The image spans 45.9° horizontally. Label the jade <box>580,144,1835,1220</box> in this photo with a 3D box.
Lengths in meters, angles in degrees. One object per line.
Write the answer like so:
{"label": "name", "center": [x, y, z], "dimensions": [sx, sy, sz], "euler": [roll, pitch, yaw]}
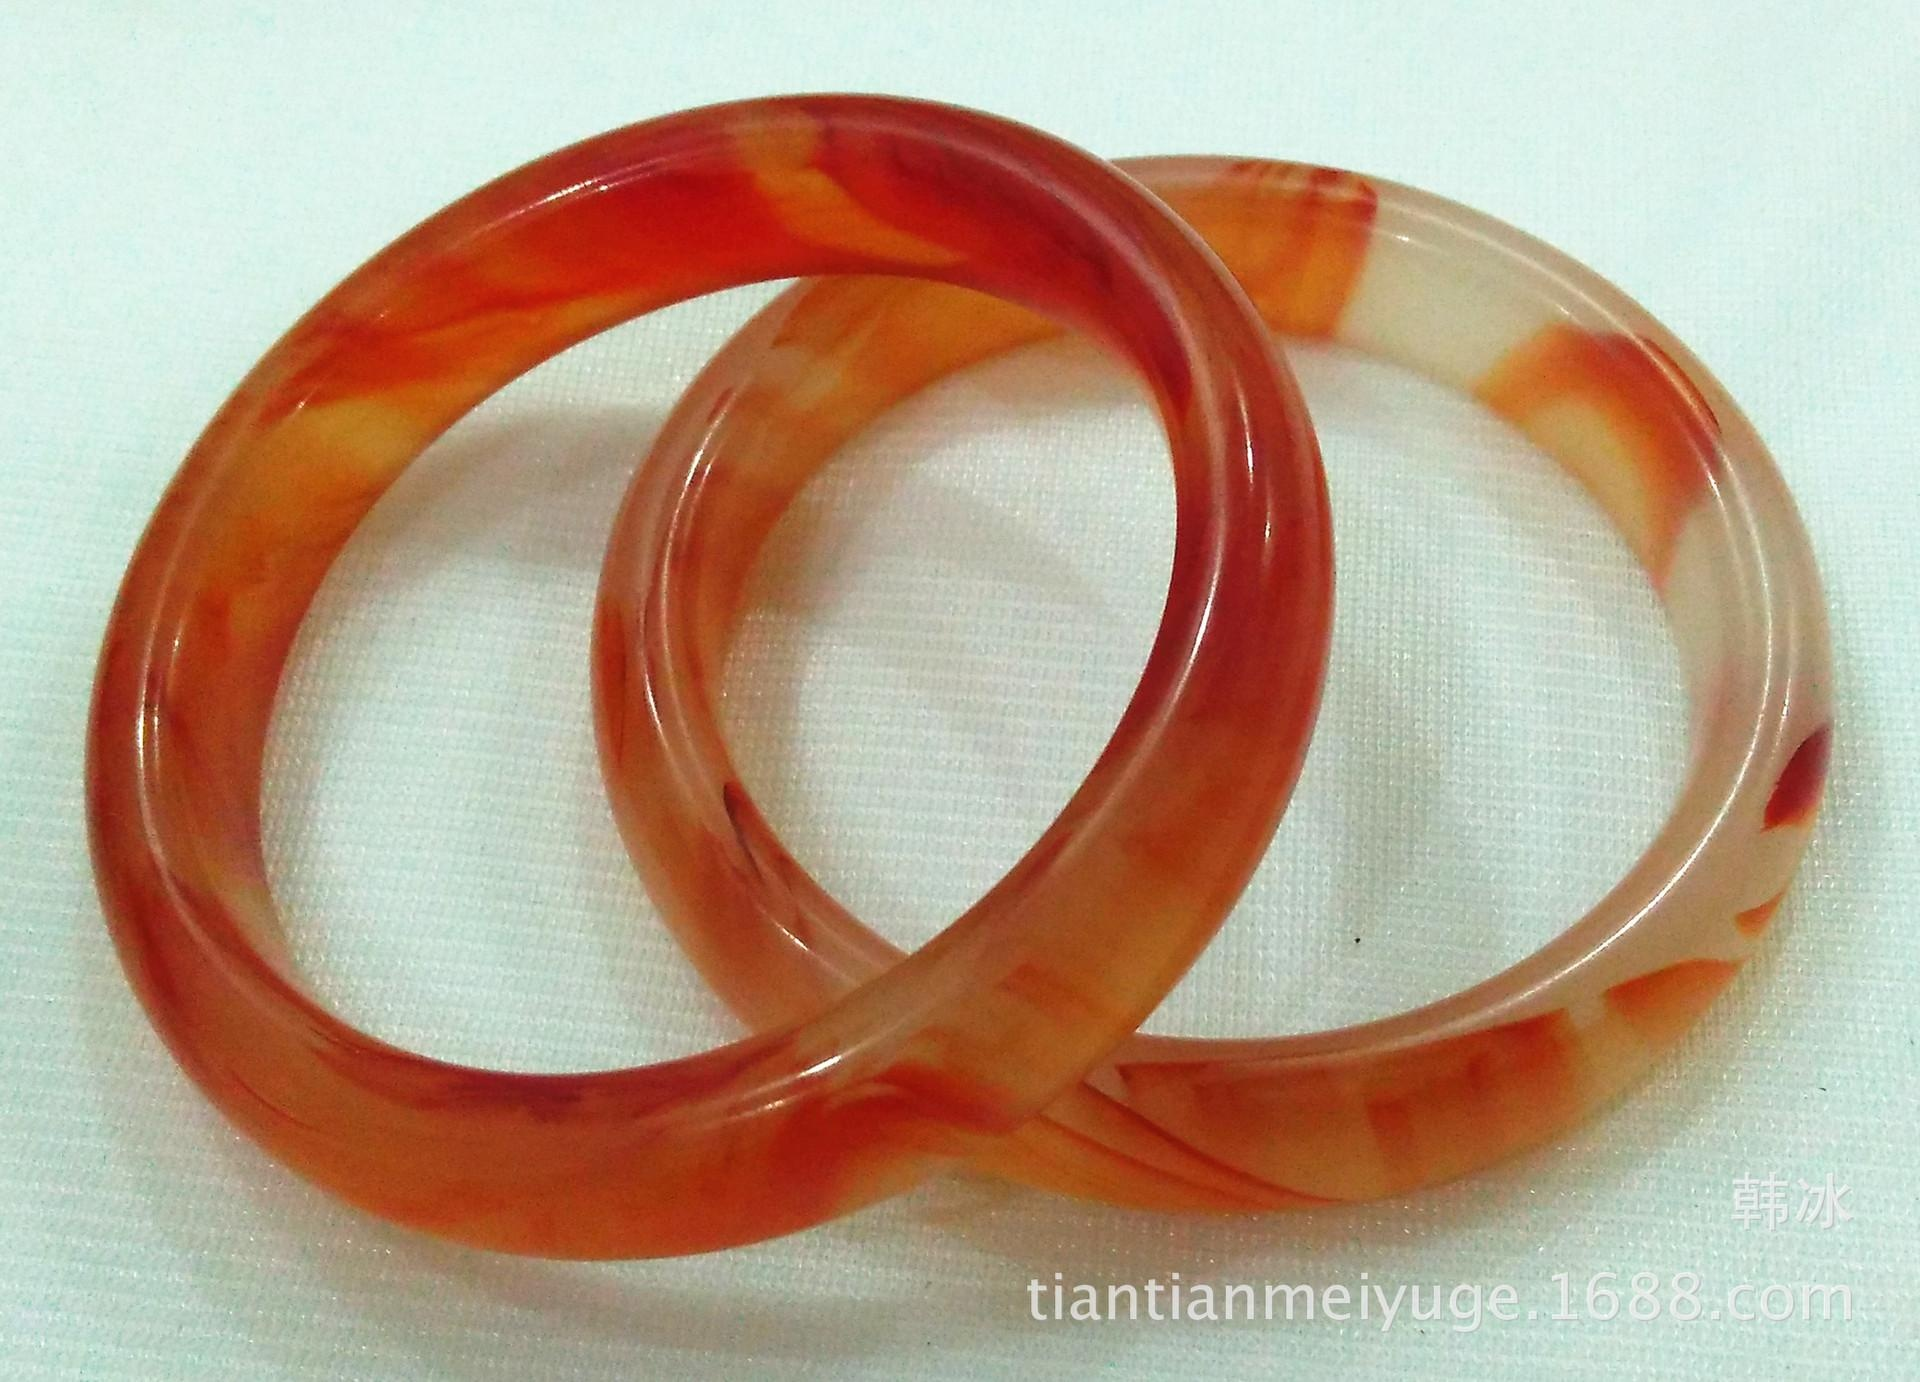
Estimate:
{"label": "jade", "center": [0.317, -0.007, 2.105], "dimensions": [0.884, 0.744, 1.563], "euler": [3, 47, 4]}

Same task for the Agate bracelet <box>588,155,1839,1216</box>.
{"label": "Agate bracelet", "center": [0.283, -0.005, 2.110], "dimensions": [0.890, 0.742, 1.574], "euler": [3, 47, 4]}

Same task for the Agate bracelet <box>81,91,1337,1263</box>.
{"label": "Agate bracelet", "center": [-0.212, -0.043, 1.824], "dimensions": [1.012, 0.315, 0.940], "euler": [-21, 77, -3]}
